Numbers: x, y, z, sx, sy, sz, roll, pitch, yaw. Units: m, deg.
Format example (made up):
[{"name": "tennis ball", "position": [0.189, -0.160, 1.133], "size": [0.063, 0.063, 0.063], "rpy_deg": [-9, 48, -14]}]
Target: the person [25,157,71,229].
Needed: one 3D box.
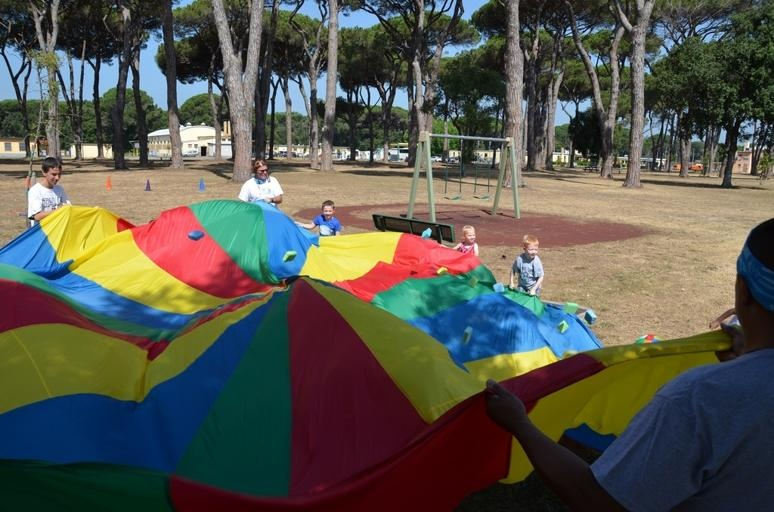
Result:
[{"name": "person", "position": [-4.446, -0.796, 9.690], "size": [0.483, 1.011, 0.578], "rpy_deg": [17, 16, 34]}]

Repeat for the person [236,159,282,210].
[{"name": "person", "position": [-1.954, -1.127, 11.336], "size": [0.640, 0.767, 0.412], "rpy_deg": [2, 25, -12]}]
